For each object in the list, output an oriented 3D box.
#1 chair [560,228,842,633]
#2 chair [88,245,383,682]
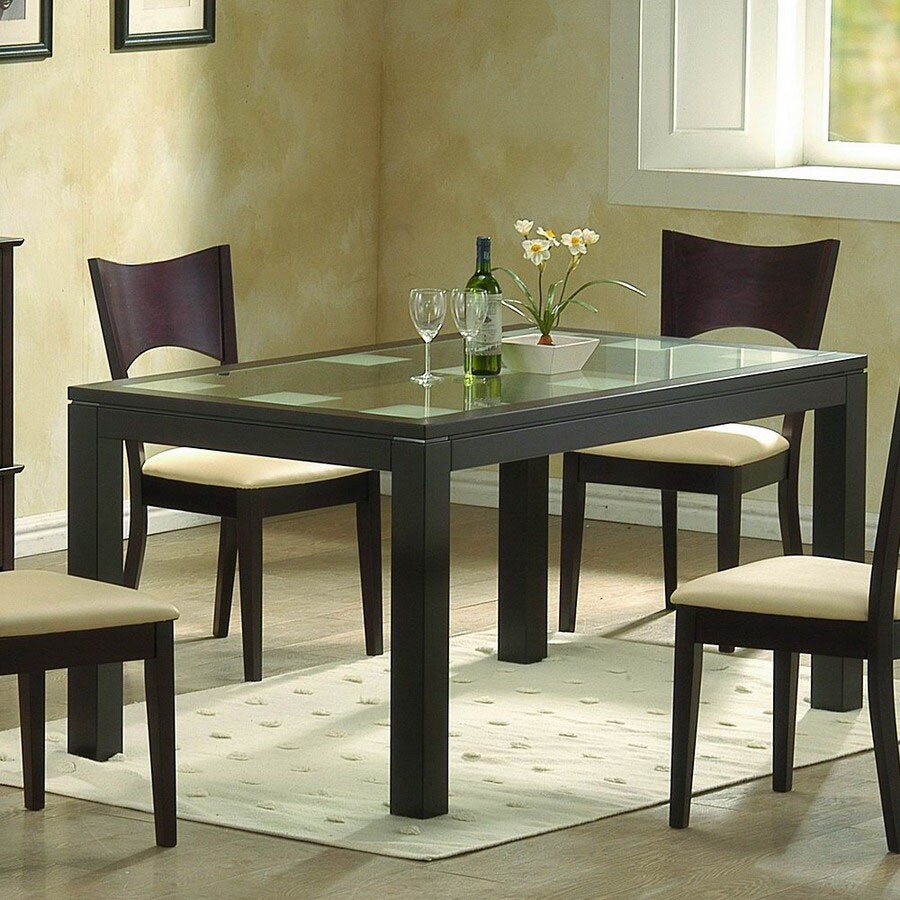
[{"bbox_3d":[0.692,-0.043,2.994,0.509,1.135,0.638,8,11,38],"label":"chair"},{"bbox_3d":[-0.524,0.014,2.708,0.609,1.096,0.584,1,4,20],"label":"chair"}]
